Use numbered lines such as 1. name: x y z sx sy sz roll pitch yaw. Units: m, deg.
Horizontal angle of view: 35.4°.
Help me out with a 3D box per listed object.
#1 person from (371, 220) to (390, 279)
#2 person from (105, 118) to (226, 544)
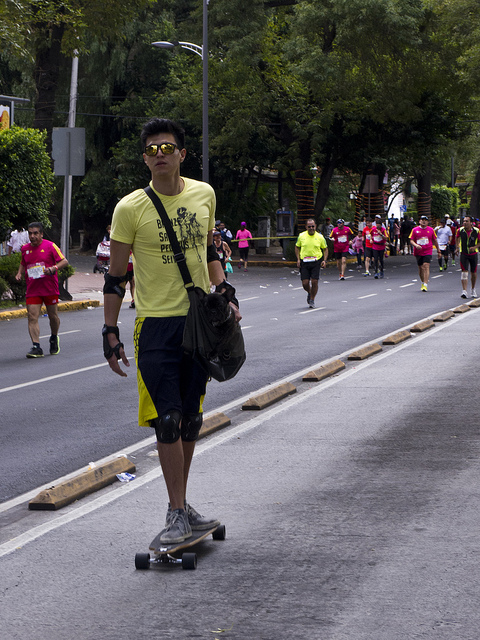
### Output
1. person: 4.975 -2.590 27.426 0.681 2.179 0.851 -6 11 -15
2. person: -0.345 0.046 3.429 0.454 1.907 0.560 4 7 22
